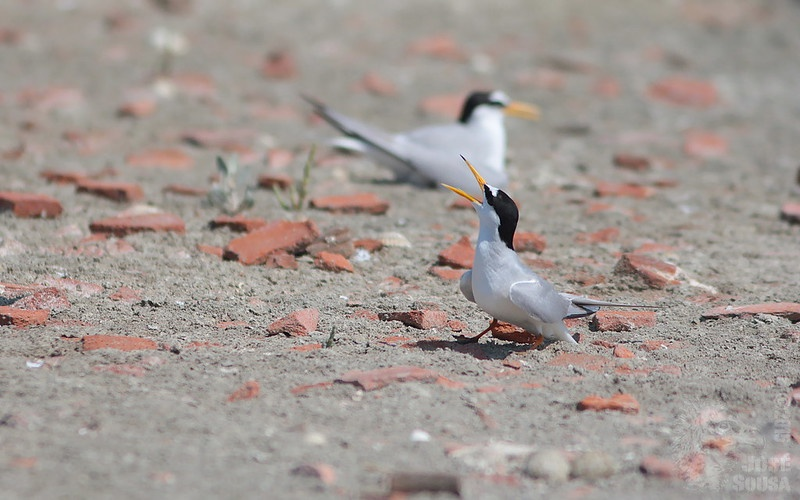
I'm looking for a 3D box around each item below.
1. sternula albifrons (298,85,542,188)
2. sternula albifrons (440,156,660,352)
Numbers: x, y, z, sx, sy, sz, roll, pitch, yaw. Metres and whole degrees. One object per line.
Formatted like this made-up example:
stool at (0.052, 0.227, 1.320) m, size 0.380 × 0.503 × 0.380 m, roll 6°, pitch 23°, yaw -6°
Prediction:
sternula albifrons at (0.123, -0.855, 6.730) m, size 0.713 × 2.073 × 0.707 m, roll 28°, pitch 108°, yaw 47°
sternula albifrons at (0.563, 0.144, 4.720) m, size 0.732 × 0.603 × 0.790 m, roll -26°, pitch 58°, yaw -6°
